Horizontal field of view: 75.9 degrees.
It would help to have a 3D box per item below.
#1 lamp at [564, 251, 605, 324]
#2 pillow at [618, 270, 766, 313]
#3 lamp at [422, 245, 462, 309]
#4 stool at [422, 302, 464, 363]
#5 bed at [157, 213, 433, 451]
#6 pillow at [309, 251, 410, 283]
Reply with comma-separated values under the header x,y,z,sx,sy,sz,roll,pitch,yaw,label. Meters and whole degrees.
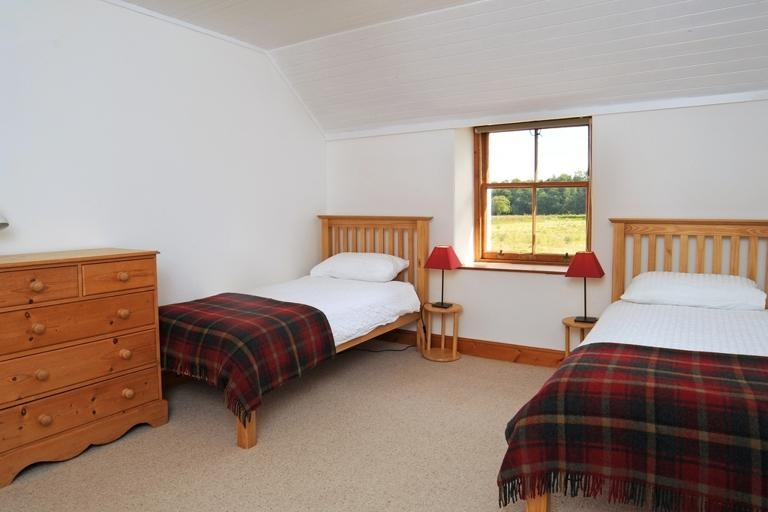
x,y,z,sx,sy,sz,roll,pitch,yaw,label
1.656,0.246,4.039,0.387,0.573,0.356,-4,6,-22,lamp
2.243,0.251,3.635,0.886,0.202,0.322,4,15,23,pillow
0.530,0.194,4.545,0.391,0.525,0.382,-1,4,-14,lamp
0.540,0.684,4.561,0.383,0.478,0.416,0,14,7,stool
-0.581,0.262,4.290,1.190,1.232,1.935,4,7,31,bed
-0.216,0.064,4.730,0.598,0.162,0.357,0,30,22,pillow
